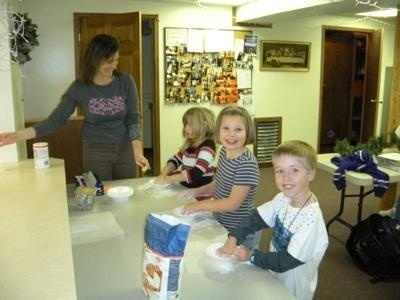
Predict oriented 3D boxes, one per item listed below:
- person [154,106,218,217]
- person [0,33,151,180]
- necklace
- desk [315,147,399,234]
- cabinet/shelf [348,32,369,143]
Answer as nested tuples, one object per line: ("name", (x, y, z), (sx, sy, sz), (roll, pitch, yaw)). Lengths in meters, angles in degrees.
("person", (-0.089, 0.052, 2.470), (0.458, 0.784, 0.450), (-2, 9, -29))
("person", (-0.829, -0.268, 2.324), (0.773, 1.124, 0.339), (-7, 15, -21))
("necklace", (0.465, 0.363, 1.511), (0.066, 0.272, 0.151), (28, -8, -13))
("desk", (1.596, 0.422, 3.168), (0.624, 0.665, 0.679), (-3, 24, -12))
("cabinet/shelf", (3.659, -1.421, 7.400), (0.329, 2.525, 0.496), (6, 15, 25))
